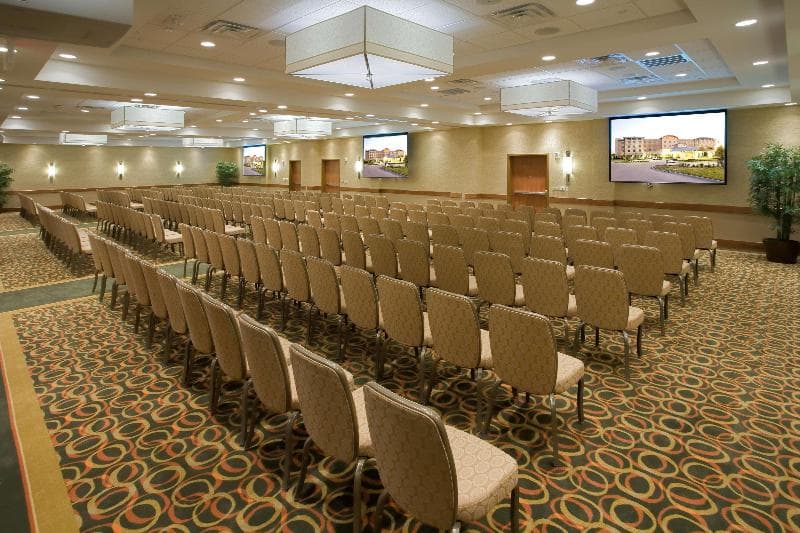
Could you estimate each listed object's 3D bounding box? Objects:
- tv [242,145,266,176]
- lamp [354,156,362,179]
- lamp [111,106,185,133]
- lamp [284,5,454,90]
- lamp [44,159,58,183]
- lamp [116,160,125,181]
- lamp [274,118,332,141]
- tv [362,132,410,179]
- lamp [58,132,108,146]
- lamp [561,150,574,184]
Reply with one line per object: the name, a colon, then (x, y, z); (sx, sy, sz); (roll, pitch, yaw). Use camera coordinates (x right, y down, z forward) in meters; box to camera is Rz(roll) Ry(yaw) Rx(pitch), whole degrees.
tv: (-8.598, -6.331, 27.626); (2.381, 1.809, 0.099); (7, 13, 36)
lamp: (-1.873, -4.477, 21.333); (0.153, 0.923, 0.606); (-8, 14, -28)
lamp: (-7.370, -4.328, 13.606); (1.579, 0.378, 1.376); (-3, 5, -40)
lamp: (-0.717, -3.148, 7.024); (1.610, 0.341, 1.447); (2, -4, -42)
lamp: (-17.040, -4.596, 22.821); (0.156, 0.986, 0.537); (8, 15, 31)
lamp: (-15.071, -5.153, 25.161); (0.547, 0.781, 0.348); (1, 5, -22)
lamp: (-3.820, -4.990, 16.938); (1.541, 0.349, 1.398); (-5, 6, -44)
tv: (-0.657, -4.765, 20.090); (0.061, 1.782, 3.102); (16, 22, 35)
lamp: (-14.334, -5.685, 20.919); (1.294, 0.223, 1.129); (-4, 7, -41)
lamp: (5.408, -3.167, 15.093); (0.198, 1.103, 0.419); (-10, 16, -36)
